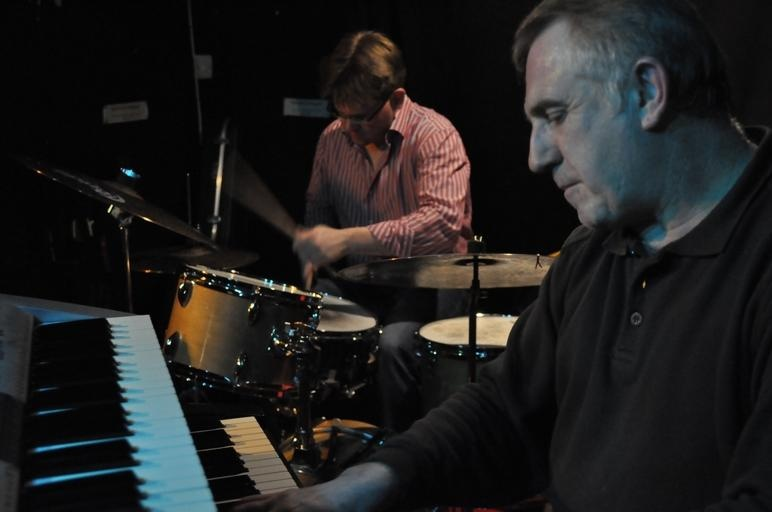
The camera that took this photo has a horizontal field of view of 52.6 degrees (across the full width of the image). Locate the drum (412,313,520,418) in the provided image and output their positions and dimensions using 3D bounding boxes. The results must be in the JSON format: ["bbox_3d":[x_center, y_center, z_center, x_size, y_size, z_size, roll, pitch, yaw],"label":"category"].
[{"bbox_3d":[0.278,0.376,3.171,0.458,0.401,0.441,-2,8,-5],"label":"drum"}]

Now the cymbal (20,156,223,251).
[{"bbox_3d":[-0.855,-0.151,2.659,0.372,0.252,1.008,4,2,-2],"label":"cymbal"}]

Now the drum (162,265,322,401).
[{"bbox_3d":[-0.588,0.261,3.222,0.655,0.400,0.634,13,6,-1],"label":"drum"}]
